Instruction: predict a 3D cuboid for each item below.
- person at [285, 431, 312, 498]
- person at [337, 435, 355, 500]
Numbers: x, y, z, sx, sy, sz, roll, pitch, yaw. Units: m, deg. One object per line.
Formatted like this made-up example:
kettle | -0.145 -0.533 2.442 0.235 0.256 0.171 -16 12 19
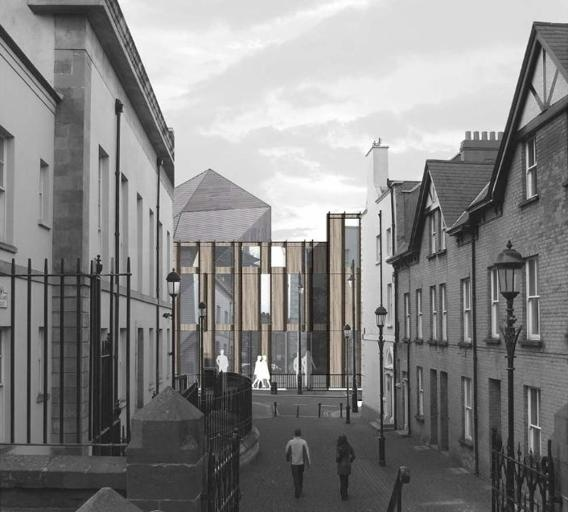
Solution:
person | 0.315 4.684 20.609 0.486 1.660 0.456 -2 16 -7
person | 1.438 4.956 20.978 0.395 1.480 1.489 0 -10 4
